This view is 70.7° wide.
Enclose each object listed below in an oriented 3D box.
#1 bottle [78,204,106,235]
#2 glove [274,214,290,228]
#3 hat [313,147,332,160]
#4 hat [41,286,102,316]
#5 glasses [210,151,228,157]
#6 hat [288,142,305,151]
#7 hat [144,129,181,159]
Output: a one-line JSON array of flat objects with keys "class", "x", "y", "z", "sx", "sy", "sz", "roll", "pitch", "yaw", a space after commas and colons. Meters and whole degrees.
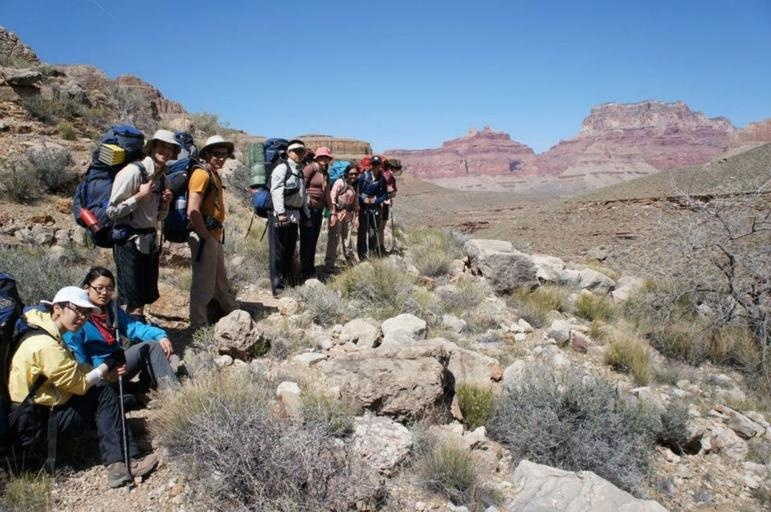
[{"class": "bottle", "x": -4.075, "y": -0.522, "z": 7.656, "sx": 0.411, "sy": 0.205, "sz": 0.146, "roll": 50, "pitch": 13, "yaw": 8}, {"class": "glove", "x": -1.821, "y": -0.634, "z": 9.649, "sx": 0.167, "sy": 0.215, "sz": 0.223, "roll": 2, "pitch": -17, "yaw": -27}, {"class": "hat", "x": -1.210, "y": -2.102, "z": 10.664, "sx": 0.315, "sy": 0.199, "sz": 0.400, "roll": 1, "pitch": -7, "yaw": -5}, {"class": "hat", "x": -3.869, "y": 0.500, "z": 6.697, "sx": 0.533, "sy": 0.198, "sz": 0.341, "roll": 10, "pitch": -4, "yaw": 4}, {"class": "glasses", "x": -2.541, "y": -1.590, "z": 8.427, "sx": 0.242, "sy": 0.091, "sz": 0.082, "roll": 3, "pitch": -1, "yaw": -3}, {"class": "hat", "x": -1.611, "y": -1.998, "z": 9.843, "sx": 0.295, "sy": 0.144, "sz": 0.324, "roll": 4, "pitch": -2, "yaw": -13}, {"class": "hat", "x": -3.115, "y": -1.662, "z": 7.804, "sx": 0.349, "sy": 0.246, "sz": 0.445, "roll": -3, "pitch": -6, "yaw": 11}]
